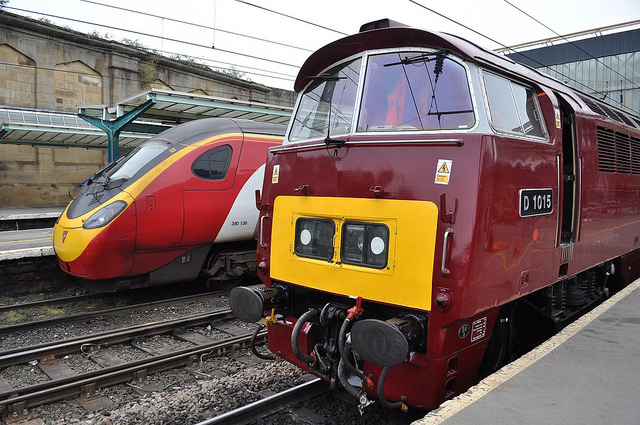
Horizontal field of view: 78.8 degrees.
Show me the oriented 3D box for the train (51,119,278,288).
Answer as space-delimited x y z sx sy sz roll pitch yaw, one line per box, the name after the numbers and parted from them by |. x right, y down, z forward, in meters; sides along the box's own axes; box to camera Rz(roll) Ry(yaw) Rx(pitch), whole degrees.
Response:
-2.463 -0.318 12.084 2.778 3.704 9.920 -7 0 32 | train
